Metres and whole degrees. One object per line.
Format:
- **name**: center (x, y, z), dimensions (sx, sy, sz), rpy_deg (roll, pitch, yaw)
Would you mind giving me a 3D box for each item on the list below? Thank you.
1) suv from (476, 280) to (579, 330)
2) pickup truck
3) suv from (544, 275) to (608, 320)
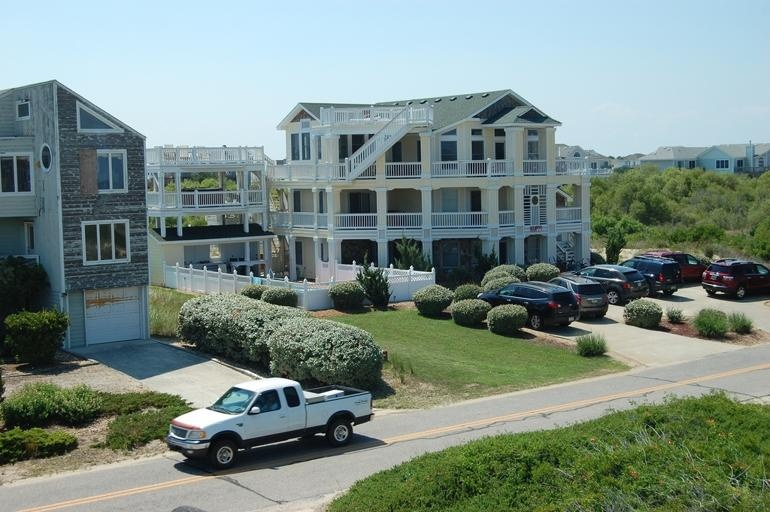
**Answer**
- **suv**: center (7.304, 2.456, 41.065), dimensions (4.011, 2.124, 1.084), rpy_deg (0, 3, 31)
- **pickup truck**: center (-3.861, 5.394, 27.799), dimensions (6.107, 2.169, 2.749), rpy_deg (0, 0, -32)
- **suv**: center (9.912, 1.999, 43.352), dimensions (1.625, 1.566, 3.206), rpy_deg (-4, 10, -26)
